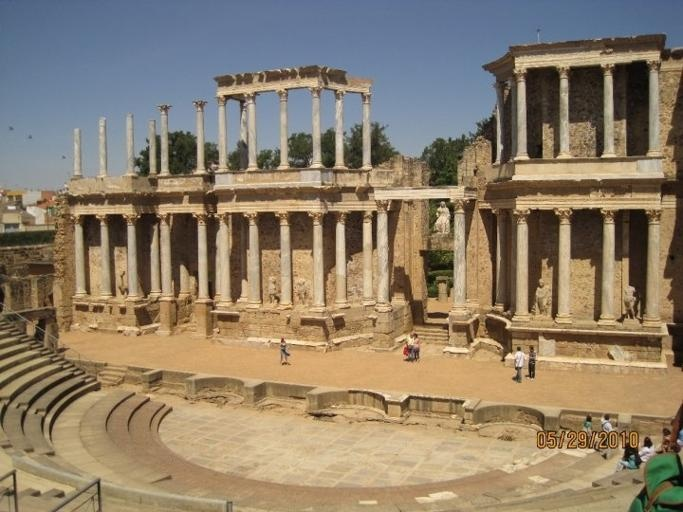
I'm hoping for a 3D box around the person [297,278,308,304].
[{"bbox_3d":[-1.973,1.760,43.932,0.596,1.320,0.329,-3,15,2],"label":"person"}]

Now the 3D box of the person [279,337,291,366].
[{"bbox_3d":[-2.693,4.509,40.337,0.581,1.322,0.396,-8,45,-6],"label":"person"}]

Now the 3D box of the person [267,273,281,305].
[{"bbox_3d":[-3.509,1.694,44.231,0.553,1.355,0.809,-2,15,5],"label":"person"}]

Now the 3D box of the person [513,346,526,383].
[{"bbox_3d":[7.570,4.579,36.534,0.391,1.347,1.293,-1,15,10],"label":"person"}]

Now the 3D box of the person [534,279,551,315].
[{"bbox_3d":[9.258,1.848,39.380,0.733,1.625,1.190,2,15,18],"label":"person"}]

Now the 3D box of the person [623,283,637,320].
[{"bbox_3d":[13.083,2.024,38.552,0.663,1.535,1.464,2,15,19],"label":"person"}]
